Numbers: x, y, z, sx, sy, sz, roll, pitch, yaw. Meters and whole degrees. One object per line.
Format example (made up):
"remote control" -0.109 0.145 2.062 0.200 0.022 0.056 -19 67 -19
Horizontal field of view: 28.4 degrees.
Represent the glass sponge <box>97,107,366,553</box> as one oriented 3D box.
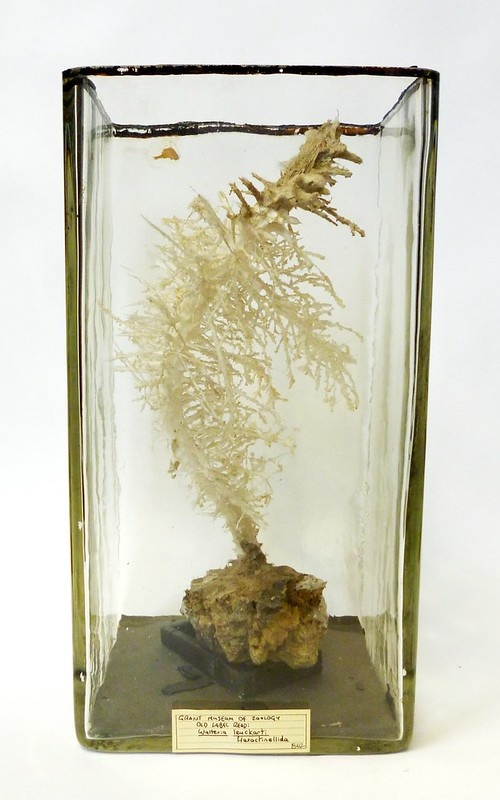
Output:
"glass sponge" -0.019 -0.079 1.343 0.338 0.588 0.129 1 10 7
